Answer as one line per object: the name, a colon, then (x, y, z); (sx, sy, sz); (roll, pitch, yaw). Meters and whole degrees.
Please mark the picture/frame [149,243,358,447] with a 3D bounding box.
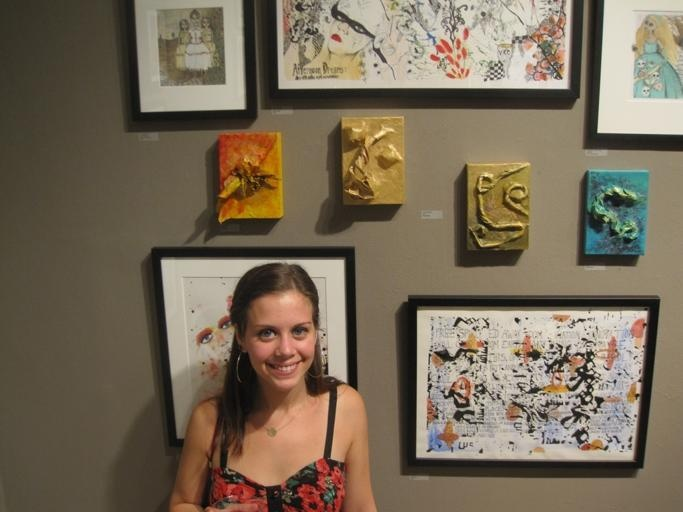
picture/frame: (-0.283, 0.295, 2.452); (0.609, 0.734, 0.028); (0, 5, -5)
